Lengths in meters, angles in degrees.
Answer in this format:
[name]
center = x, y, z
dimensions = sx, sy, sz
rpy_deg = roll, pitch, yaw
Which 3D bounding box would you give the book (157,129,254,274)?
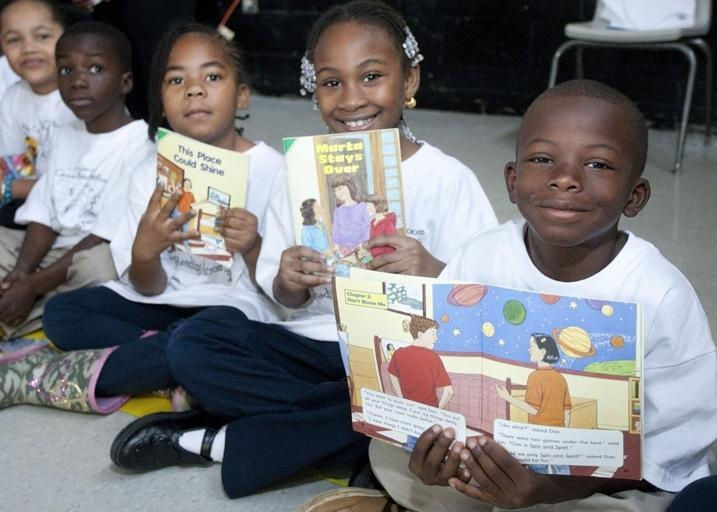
[book]
center = -0.409, -0.144, 1.955
dimensions = 0.369, 0.374, 0.041
rpy_deg = 18, 28, 15

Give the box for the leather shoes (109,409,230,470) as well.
[leather shoes]
center = -0.428, 0.435, 1.855
dimensions = 0.349, 0.102, 0.135
rpy_deg = -9, 13, -22
